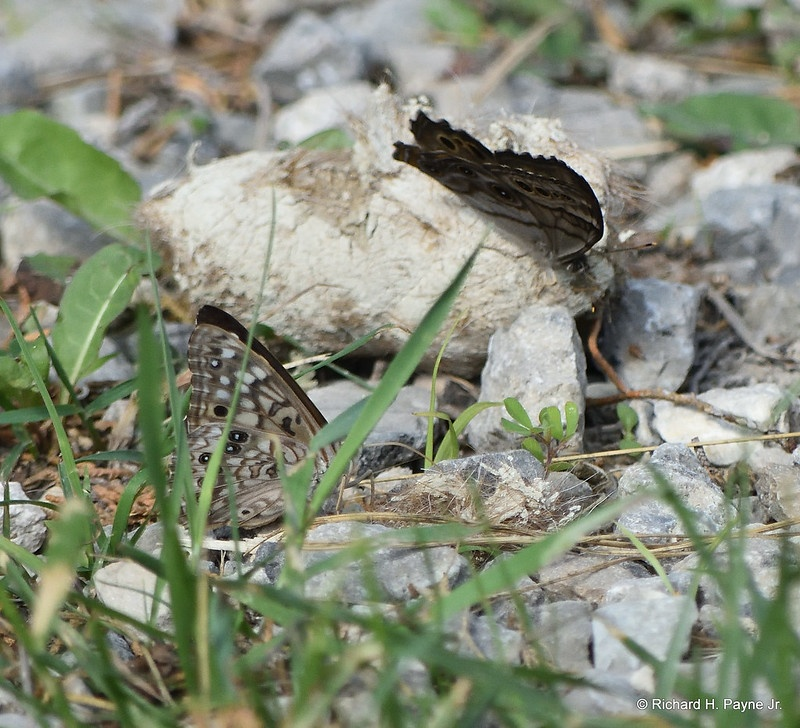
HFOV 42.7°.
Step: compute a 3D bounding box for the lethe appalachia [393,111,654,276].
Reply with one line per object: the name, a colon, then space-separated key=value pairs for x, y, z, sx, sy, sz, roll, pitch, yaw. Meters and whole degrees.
lethe appalachia: x=0.250 y=-0.363 z=2.168 sx=0.465 sy=0.364 sz=0.141 roll=14 pitch=91 yaw=-32
